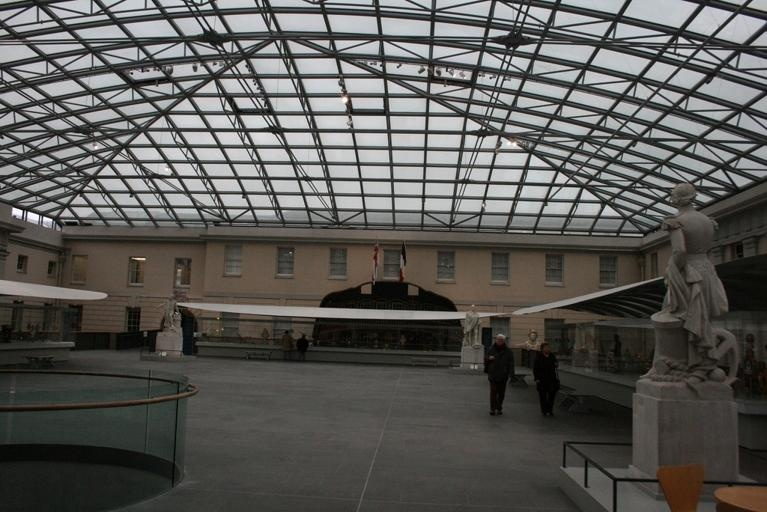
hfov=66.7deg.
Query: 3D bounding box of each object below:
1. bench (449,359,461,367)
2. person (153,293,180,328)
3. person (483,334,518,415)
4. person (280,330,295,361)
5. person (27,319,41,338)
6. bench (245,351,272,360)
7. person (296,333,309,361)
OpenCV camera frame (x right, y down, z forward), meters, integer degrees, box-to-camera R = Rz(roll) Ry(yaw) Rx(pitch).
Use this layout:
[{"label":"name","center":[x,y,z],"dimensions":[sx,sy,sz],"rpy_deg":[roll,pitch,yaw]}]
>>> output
[{"label":"bench","center":[4.136,6.179,33.907],"dimensions":[0.755,0.453,0.374],"rpy_deg":[1,-12,-5]},{"label":"person","center":[-11.987,3.163,32.725],"dimensions":[0.781,2.023,0.951],"rpy_deg":[8,-12,-38]},{"label":"person","center":[3.738,3.770,18.732],"dimensions":[0.812,2.460,1.488],"rpy_deg":[0,-9,9]},{"label":"person","center":[-5.789,5.273,34.956],"dimensions":[0.709,1.726,1.099],"rpy_deg":[2,-9,-8]},{"label":"person","center":[-16.413,3.394,27.196],"dimensions":[0.734,0.773,0.669],"rpy_deg":[-3,-7,38]},{"label":"bench","center":[-7.512,5.862,34.829],"dimensions":[1.525,0.432,0.933],"rpy_deg":[2,-9,-10]},{"label":"person","center":[-4.888,5.379,34.900],"dimensions":[0.772,1.584,1.044],"rpy_deg":[2,-9,-7]}]
